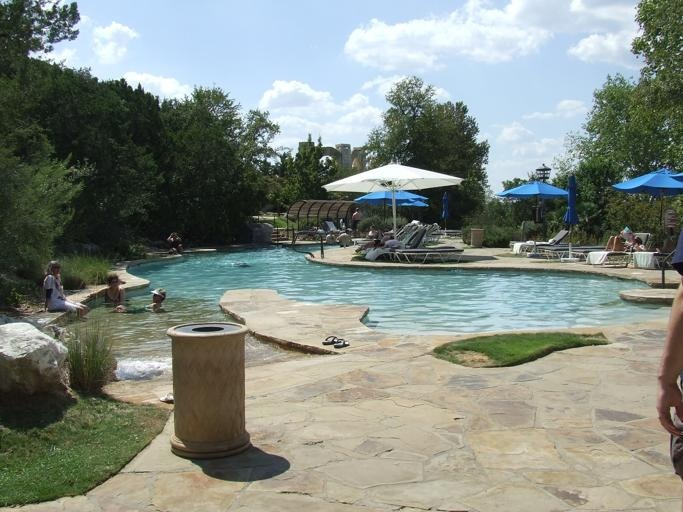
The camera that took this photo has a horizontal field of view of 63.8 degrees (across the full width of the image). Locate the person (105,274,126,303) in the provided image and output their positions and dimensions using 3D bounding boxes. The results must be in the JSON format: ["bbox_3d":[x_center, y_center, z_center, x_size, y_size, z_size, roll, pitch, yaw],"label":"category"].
[{"bbox_3d":[-5.656,0.836,13.588,0.426,0.755,0.620,-4,7,-22],"label":"person"}]

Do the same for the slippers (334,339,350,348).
[{"bbox_3d":[0.008,1.452,8.834,0.250,0.067,0.364,2,6,27],"label":"slippers"}]

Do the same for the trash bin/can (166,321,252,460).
[{"bbox_3d":[-1.291,1.346,5.340,0.765,1.181,0.458,-3,7,-16],"label":"trash bin/can"}]

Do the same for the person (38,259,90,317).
[{"bbox_3d":[-6.006,0.742,11.661,0.710,1.174,0.605,3,8,35],"label":"person"}]

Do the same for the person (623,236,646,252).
[{"bbox_3d":[10.455,-0.403,19.421,0.787,0.334,0.561,2,6,19],"label":"person"}]

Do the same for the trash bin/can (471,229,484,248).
[{"bbox_3d":[7.399,-0.934,29.277,0.790,1.002,0.678,-2,6,-8],"label":"trash bin/can"}]
